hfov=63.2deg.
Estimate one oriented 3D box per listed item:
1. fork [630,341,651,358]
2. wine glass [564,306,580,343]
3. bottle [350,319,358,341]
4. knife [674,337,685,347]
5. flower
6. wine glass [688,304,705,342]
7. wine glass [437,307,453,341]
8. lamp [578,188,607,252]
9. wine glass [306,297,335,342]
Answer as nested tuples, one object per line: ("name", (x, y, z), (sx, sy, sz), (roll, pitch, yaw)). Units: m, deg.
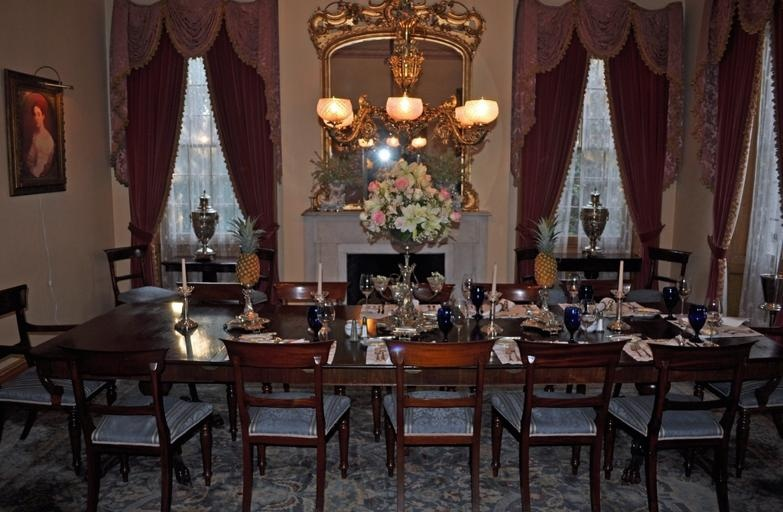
("fork", (1.877, 0.723, 4.826), (0.092, 0.038, 0.150), (-1, 15, 6))
("wine glass", (1.445, 0.537, 5.100), (0.117, 0.259, 0.296), (1, 4, 17))
("bottle", (-0.302, 0.596, 5.059), (0.063, 0.141, 0.146), (-1, 4, -5))
("knife", (2.247, 0.677, 4.984), (0.076, 0.042, 0.119), (1, 16, 3))
("flower", (0.141, -0.406, 5.090), (0.770, 0.704, 0.285), (-1, 5, -5))
("wine glass", (2.448, 0.535, 5.103), (0.121, 0.275, 0.245), (2, 5, 26))
("wine glass", (0.420, 0.531, 5.077), (0.121, 0.257, 0.184), (0, 4, 6))
("lamp", (2.621, -0.457, 8.319), (0.336, 0.800, 0.465), (1, 5, 15))
("wine glass", (-0.533, 0.489, 5.139), (0.271, 0.447, 0.285), (0, 17, -3))
